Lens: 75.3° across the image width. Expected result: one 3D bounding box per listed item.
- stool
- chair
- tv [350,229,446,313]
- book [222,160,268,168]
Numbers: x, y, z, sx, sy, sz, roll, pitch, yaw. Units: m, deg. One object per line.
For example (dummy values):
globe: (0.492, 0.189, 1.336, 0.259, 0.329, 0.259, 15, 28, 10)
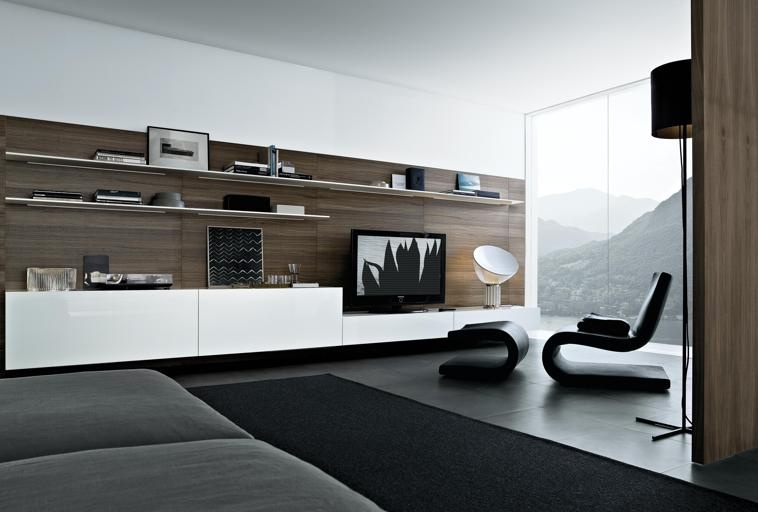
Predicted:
stool: (0.914, 0.871, 4.369, 0.737, 0.426, 0.684, -1, -2, 26)
chair: (1.891, 0.606, 4.137, 1.043, 0.855, 0.608, 0, -2, 18)
tv: (0.275, 0.179, 5.845, 1.351, 0.871, 0.330, -1, -1, 37)
book: (-1.349, -0.933, 5.002, 0.210, 0.036, 0.187, -1, 3, -29)
